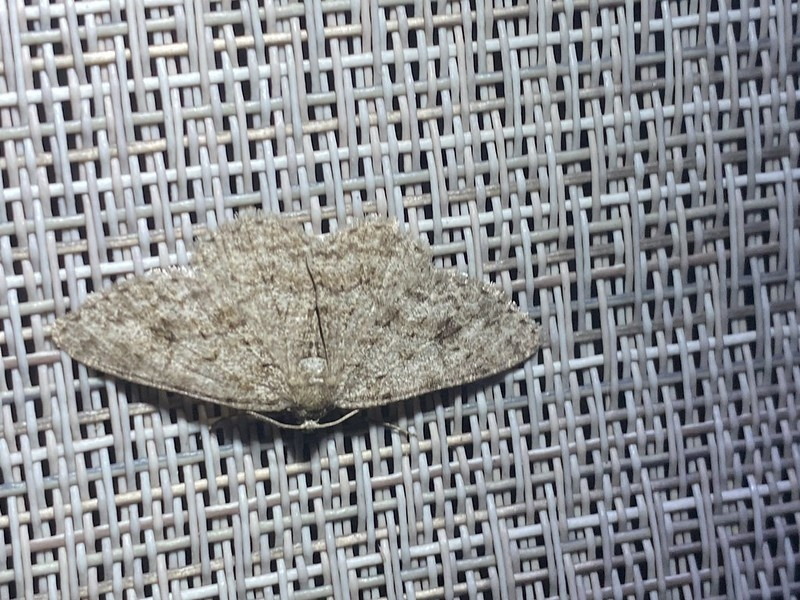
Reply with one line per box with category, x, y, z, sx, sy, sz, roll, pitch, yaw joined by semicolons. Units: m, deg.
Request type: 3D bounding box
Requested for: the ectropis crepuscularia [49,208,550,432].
ectropis crepuscularia;-0.123;0.021;2.926;0.532;0.084;0.330;0;94;2
